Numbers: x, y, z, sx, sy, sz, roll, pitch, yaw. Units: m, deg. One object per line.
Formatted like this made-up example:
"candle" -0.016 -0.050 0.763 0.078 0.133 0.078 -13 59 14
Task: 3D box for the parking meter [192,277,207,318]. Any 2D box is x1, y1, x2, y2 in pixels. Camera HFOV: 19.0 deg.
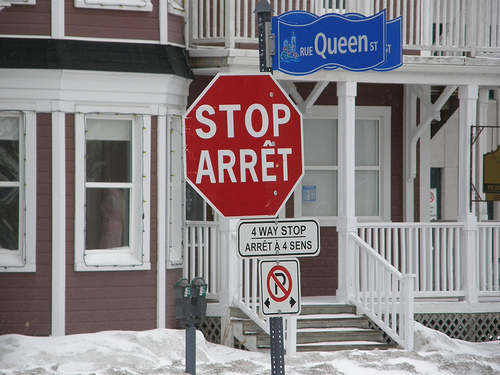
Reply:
"parking meter" -0.798 1.638 22.611 0.208 0.590 0.258 0 -3 -2

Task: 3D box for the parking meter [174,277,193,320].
"parking meter" -1.036 1.670 22.616 0.280 0.609 0.335 0 -3 -3
